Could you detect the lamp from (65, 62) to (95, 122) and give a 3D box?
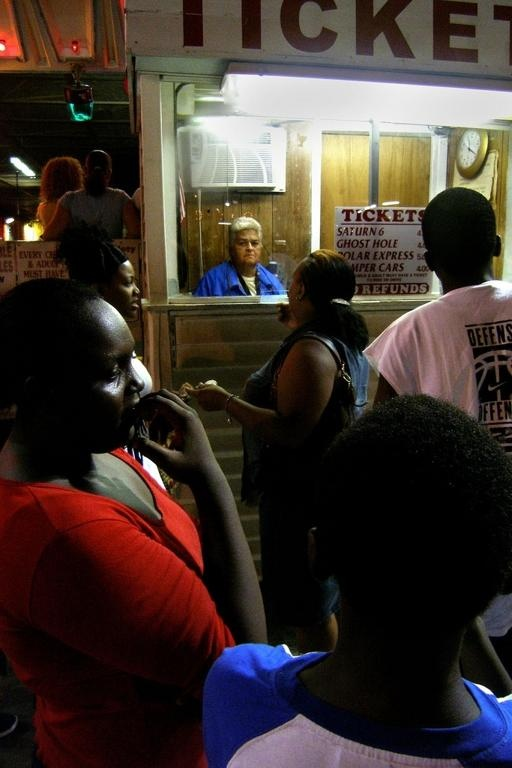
[{"bbox_3d":[-1.742,-2.847,5.959,0.249,0.577,0.748,-4,7,-15],"label":"lamp"}]

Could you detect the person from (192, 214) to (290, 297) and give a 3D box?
[{"bbox_3d":[-0.100,-0.925,4.749,0.791,0.693,0.396,-3,10,-23],"label":"person"}]

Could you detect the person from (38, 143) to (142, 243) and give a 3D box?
[{"bbox_3d":[-1.059,-1.125,4.041,0.593,0.765,0.404,-1,5,-18],"label":"person"}]

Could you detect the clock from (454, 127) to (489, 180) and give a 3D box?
[{"bbox_3d":[1.732,-1.880,4.901,0.069,0.295,0.295,-1,-9,-25],"label":"clock"}]
